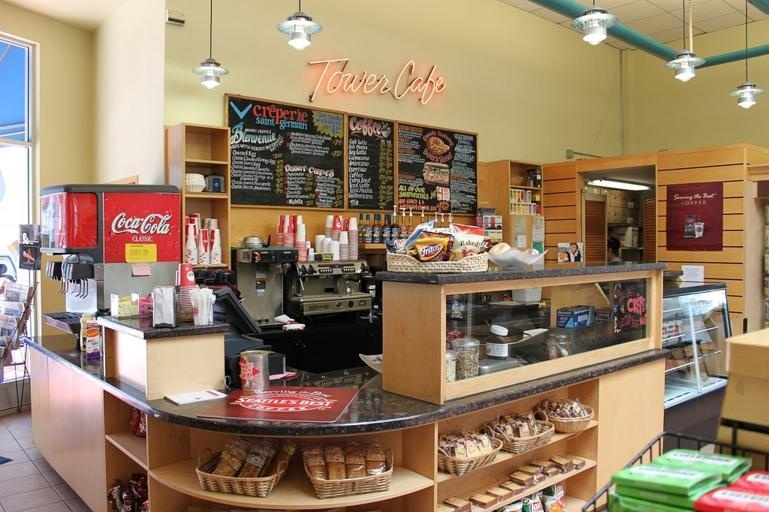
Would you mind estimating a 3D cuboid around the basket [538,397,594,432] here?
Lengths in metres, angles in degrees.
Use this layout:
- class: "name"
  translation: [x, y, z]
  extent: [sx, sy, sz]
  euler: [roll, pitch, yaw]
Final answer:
- class: "basket"
  translation: [1.299, 1.138, 4.024]
  extent: [0.390, 0.146, 0.388]
  euler: [-5, 3, -19]

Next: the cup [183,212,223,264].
- class: "cup"
  translation: [-1.840, -0.149, 5.630]
  extent: [0.415, 0.506, 0.212]
  euler: [-5, 5, -31]

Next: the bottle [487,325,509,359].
- class: "bottle"
  translation: [0.766, 0.583, 3.783]
  extent: [0.155, 0.202, 0.149]
  euler: [0, -3, 0]

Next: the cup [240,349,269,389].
- class: "cup"
  translation: [-0.874, 0.759, 3.740]
  extent: [0.142, 0.254, 0.208]
  euler: [-6, 5, -41]

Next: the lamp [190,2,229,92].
- class: "lamp"
  translation: [-1.779, -2.163, 5.646]
  extent: [0.302, 1.017, 0.657]
  euler: [-4, 4, -16]

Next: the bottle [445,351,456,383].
- class: "bottle"
  translation: [0.407, 0.684, 3.473]
  extent: [0.026, 0.200, 0.129]
  euler: [0, 5, 32]

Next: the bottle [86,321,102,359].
- class: "bottle"
  translation: [-2.291, 0.661, 4.384]
  extent: [0.090, 0.288, 0.295]
  euler: [-5, 5, -33]

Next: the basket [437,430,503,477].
- class: "basket"
  translation: [0.513, 1.217, 3.523]
  extent: [0.362, 0.092, 0.263]
  euler: [1, -2, -45]

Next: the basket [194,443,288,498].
- class: "basket"
  translation: [-0.895, 1.335, 3.452]
  extent: [0.489, 0.167, 0.510]
  euler: [8, -11, -5]

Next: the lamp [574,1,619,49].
- class: "lamp"
  translation: [2.012, -2.251, 5.324]
  extent: [0.345, 0.479, 0.511]
  euler: [0, 4, 30]

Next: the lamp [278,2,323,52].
- class: "lamp"
  translation: [-0.776, -2.042, 5.042]
  extent: [0.310, 0.351, 0.231]
  euler: [-4, 5, -28]

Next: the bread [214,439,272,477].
- class: "bread"
  translation: [-0.847, 1.208, 3.349]
  extent: [0.252, 0.057, 0.230]
  euler: [2, 4, 4]

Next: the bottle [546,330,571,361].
- class: "bottle"
  translation: [1.237, 0.624, 3.994]
  extent: [0.241, 0.190, 0.065]
  euler: [-5, 5, -37]

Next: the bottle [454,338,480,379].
- class: "bottle"
  translation: [0.562, 0.688, 3.638]
  extent: [0.175, 0.244, 0.179]
  euler: [-2, -11, 0]

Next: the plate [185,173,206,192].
- class: "plate"
  translation: [-1.878, -0.709, 5.504]
  extent: [0.211, 0.148, 0.192]
  euler: [-2, 6, -17]
